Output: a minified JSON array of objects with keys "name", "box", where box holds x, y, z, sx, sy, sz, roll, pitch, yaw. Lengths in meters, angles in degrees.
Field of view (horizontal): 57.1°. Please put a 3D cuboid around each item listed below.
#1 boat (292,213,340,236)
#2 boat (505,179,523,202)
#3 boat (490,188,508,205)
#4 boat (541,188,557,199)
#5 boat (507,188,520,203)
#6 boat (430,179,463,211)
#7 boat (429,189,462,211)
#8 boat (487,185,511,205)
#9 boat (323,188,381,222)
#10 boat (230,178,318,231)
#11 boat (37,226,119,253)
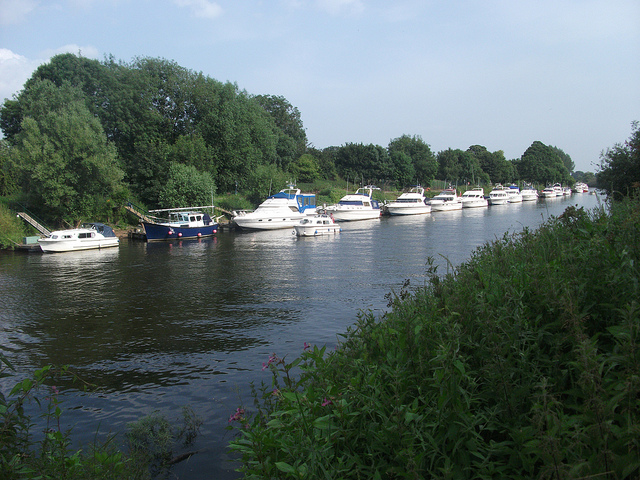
[{"name":"boat","box":[-0.253,-1.082,46.140,2.624,1.196,1.796,1,-1,-44]},{"name":"boat","box":[33.280,-7.703,101.147,2.014,2.716,6.063,3,11,25]},{"name":"boat","box":[28.399,-6.646,93.496,2.596,2.151,4.507,2,9,19]},{"name":"boat","box":[45.724,-9.321,117.624,2.021,1.774,4.880,3,10,30]},{"name":"boat","box":[32.982,-7.509,100.272,1.974,2.321,6.795,1,9,18]},{"name":"boat","box":[17.385,-5.454,81.126,2.782,2.853,7.148,3,10,30]},{"name":"boat","box":[17.506,-5.761,81.910,3.068,3.187,7.629,-1,-1,38]},{"name":"boat","box":[28.790,-6.985,94.378,2.248,2.732,6.151,-1,0,25]},{"name":"boat","box":[3.838,-4.081,65.163,2.767,3.894,8.193,10,11,43]},{"name":"boat","box":[-3.922,-3.219,54.396,3.611,4.870,10.387,5,9,44]},{"name":"boat","box":[-15.462,0.052,37.562,0.704,1.476,4.676,5,10,38]}]
